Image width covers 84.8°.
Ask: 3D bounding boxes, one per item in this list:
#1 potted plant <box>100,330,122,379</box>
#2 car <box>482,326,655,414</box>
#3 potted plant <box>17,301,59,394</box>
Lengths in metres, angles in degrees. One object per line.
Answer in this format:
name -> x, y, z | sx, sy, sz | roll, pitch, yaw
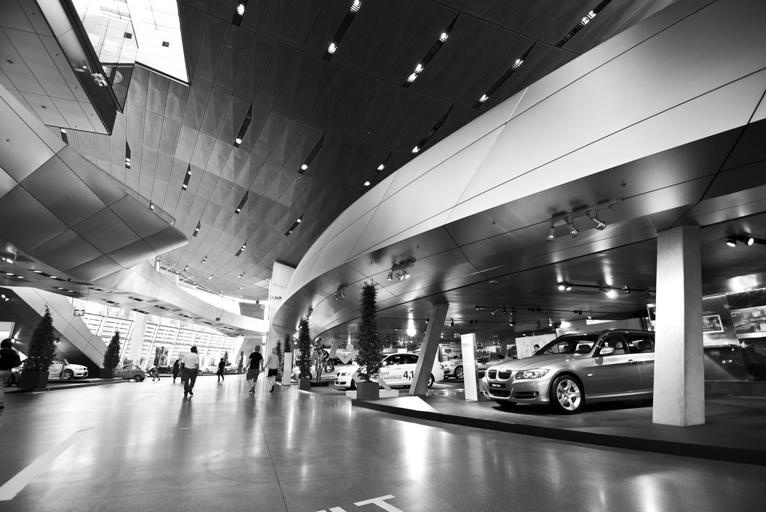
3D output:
potted plant -> -18.671, 6.834, 28.852 | 0.895, 3.156, 1.558 | 5, -9, -33
car -> 5.285, 3.156, 11.602 | 4.806, 1.565, 2.027 | 7, -18, -18
potted plant -> -14.729, 4.044, 17.985 | 1.029, 3.353, 1.216 | 7, -10, -40
